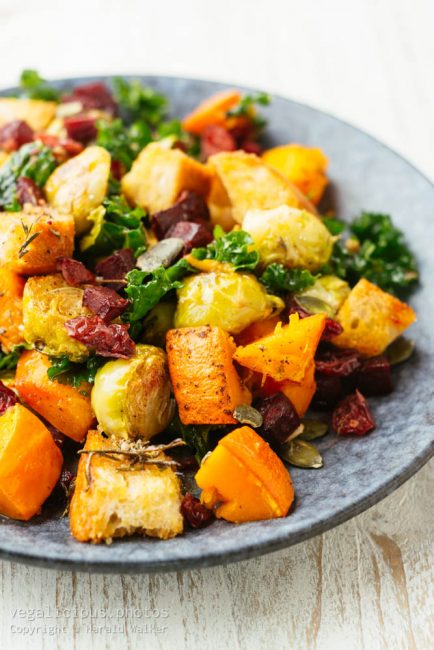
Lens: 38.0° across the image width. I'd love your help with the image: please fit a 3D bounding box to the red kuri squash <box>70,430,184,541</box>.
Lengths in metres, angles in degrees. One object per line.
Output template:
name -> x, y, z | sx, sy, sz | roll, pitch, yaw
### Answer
red kuri squash -> -0.291, 0.458, 1.936 | 0.363, 0.116, 0.410 | 11, 17, -21
